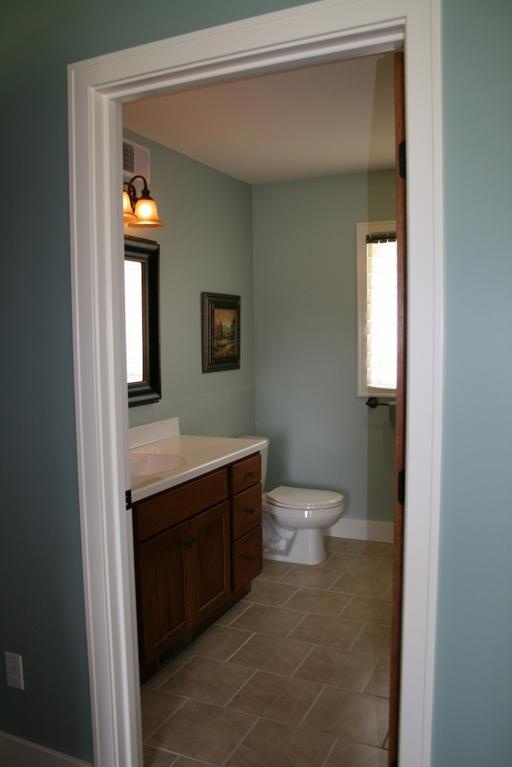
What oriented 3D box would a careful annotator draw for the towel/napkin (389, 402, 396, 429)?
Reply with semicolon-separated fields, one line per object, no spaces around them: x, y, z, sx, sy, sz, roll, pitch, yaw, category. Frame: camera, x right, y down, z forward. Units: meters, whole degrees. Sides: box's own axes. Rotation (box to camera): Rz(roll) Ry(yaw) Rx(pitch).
0.811;0.203;3.505;0.039;0.166;0.104;0;2;6;towel/napkin

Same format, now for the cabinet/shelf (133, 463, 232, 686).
-0.286;0.709;2.175;0.242;0.641;0.567;-1;5;16;cabinet/shelf

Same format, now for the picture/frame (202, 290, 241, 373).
-0.193;-0.286;3.369;0.061;0.455;0.578;0;2;15;picture/frame

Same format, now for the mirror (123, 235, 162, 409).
-0.518;-0.271;2.640;0.065;0.746;0.282;0;2;14;mirror

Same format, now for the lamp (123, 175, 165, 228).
-0.454;-0.742;2.368;0.091;0.215;0.117;-6;2;-35;lamp
